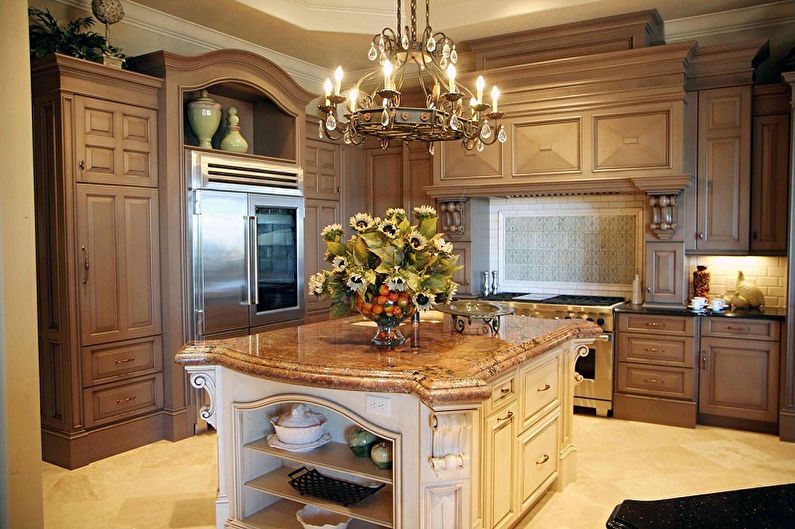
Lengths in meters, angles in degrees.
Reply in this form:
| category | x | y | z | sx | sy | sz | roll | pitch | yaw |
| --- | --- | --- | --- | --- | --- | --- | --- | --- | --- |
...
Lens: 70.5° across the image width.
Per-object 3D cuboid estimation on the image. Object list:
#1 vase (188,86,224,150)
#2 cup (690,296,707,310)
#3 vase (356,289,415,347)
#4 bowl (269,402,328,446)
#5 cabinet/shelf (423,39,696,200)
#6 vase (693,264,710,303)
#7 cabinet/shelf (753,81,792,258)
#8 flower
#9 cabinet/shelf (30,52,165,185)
| category | x | y | z | sx | sy | sz | roll | pitch | yaw |
| --- | --- | --- | --- | --- | --- | --- | --- | --- | --- |
| vase | -2.000 | -1.501 | 5.821 | 0.314 | 0.590 | 0.500 | -8 | 13 | -31 |
| cup | 3.157 | 0.404 | 5.893 | 0.119 | 0.072 | 0.170 | 0 | -6 | 4 |
| vase | -0.088 | 0.357 | 3.819 | 0.407 | 0.365 | 0.404 | 1 | -2 | -5 |
| bowl | -0.646 | 1.066 | 3.786 | 0.308 | 0.185 | 0.328 | 3 | 2 | 0 |
| cabinet/shelf | 1.837 | -1.539 | 5.873 | 2.192 | 0.960 | 0.500 | -1 | -1 | 27 |
| vase | 3.283 | 0.197 | 6.060 | 0.183 | 0.350 | 0.349 | 5 | 12 | 25 |
| cabinet/shelf | 3.752 | -0.962 | 5.671 | 0.330 | 1.700 | 0.388 | 2 | 12 | 11 |
| flower | -0.099 | -0.062 | 3.827 | 0.892 | 0.664 | 0.786 | 2 | -8 | -22 |
| cabinet/shelf | -2.687 | -1.268 | 5.143 | 1.096 | 1.134 | 0.402 | -8 | 13 | -34 |
